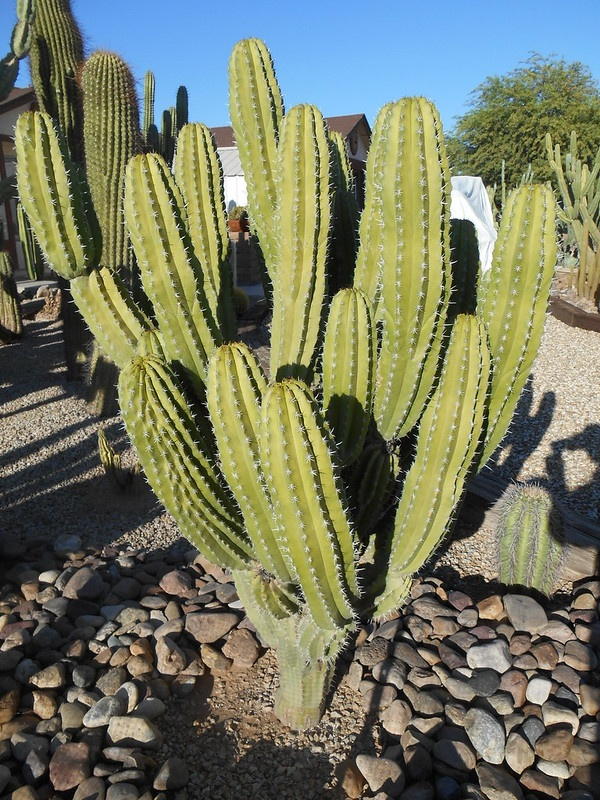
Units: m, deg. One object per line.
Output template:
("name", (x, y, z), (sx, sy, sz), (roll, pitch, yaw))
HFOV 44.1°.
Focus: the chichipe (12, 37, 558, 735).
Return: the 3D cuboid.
("chichipe", (-0.045, -0.035, 2.239), (1.384, 1.986, 0.944), (11, 23, 25))
